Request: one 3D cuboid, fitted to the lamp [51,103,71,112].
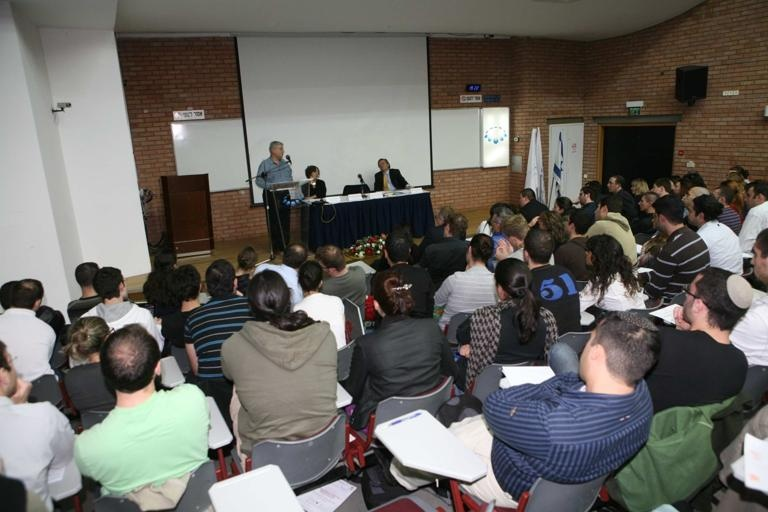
[{"bbox_3d":[-4.255,-1.972,6.854,0.227,0.116,0.142,-3,12,-11],"label":"lamp"}]

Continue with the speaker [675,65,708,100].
[{"bbox_3d":[5.815,-3.287,9.808,0.461,0.690,0.253,-16,17,-22],"label":"speaker"}]
